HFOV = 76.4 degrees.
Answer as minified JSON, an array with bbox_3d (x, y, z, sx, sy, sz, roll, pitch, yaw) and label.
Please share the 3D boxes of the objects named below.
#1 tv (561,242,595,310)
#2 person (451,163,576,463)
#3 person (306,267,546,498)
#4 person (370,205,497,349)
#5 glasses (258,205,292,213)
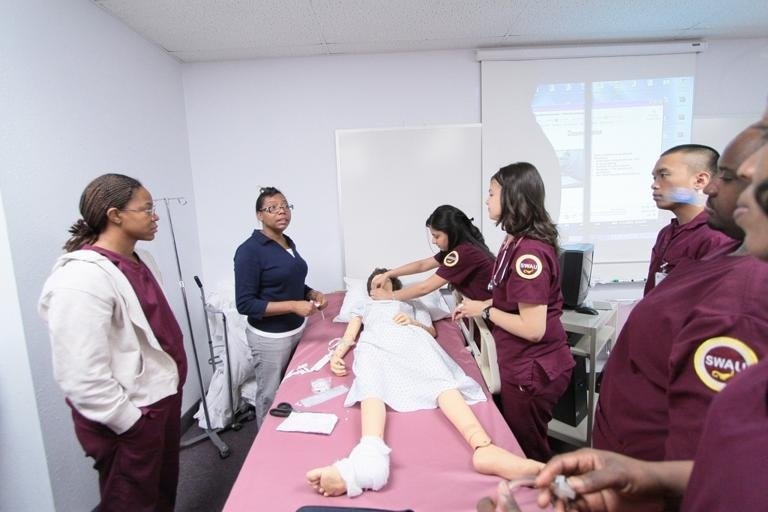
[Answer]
[{"bbox_3d":[1.447,0.145,3.651,0.262,0.405,0.444,5,17,29],"label":"tv"},{"bbox_3d":[0.819,0.589,3.118,0.822,2.257,0.816,1,13,12],"label":"person"},{"bbox_3d":[0.147,0.630,3.025,1.151,0.401,1.930,-2,24,-2],"label":"person"},{"bbox_3d":[0.442,0.212,3.480,0.933,1.072,0.492,-9,8,-1],"label":"person"},{"bbox_3d":[-0.729,-0.317,3.306,0.199,0.053,0.080,-7,7,-25],"label":"glasses"}]
